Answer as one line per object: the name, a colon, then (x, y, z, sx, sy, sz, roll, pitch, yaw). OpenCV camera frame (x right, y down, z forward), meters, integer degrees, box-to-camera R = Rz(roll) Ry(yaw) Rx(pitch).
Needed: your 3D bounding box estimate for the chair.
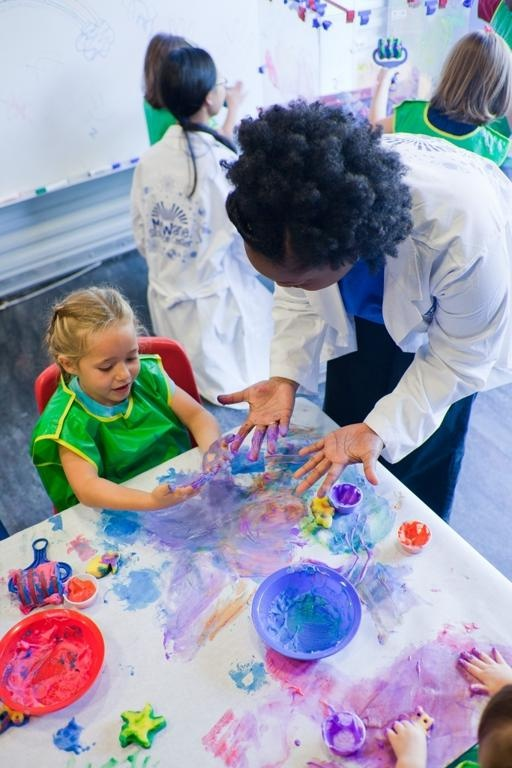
chair: (-0.306, 0.053, 1.454, 0.255, 0.326, 0.222, -21, 34, -26)

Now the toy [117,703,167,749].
toy: (-0.145, 0.443, 0.801, 0.057, 0.022, 0.054, -2, 33, -4)

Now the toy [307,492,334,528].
toy: (0.114, 0.221, 1.070, 0.042, 0.019, 0.058, -1, 53, 0)

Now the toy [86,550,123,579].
toy: (-0.252, 0.297, 1.012, 0.032, 0.012, 0.039, 14, 31, 21)
